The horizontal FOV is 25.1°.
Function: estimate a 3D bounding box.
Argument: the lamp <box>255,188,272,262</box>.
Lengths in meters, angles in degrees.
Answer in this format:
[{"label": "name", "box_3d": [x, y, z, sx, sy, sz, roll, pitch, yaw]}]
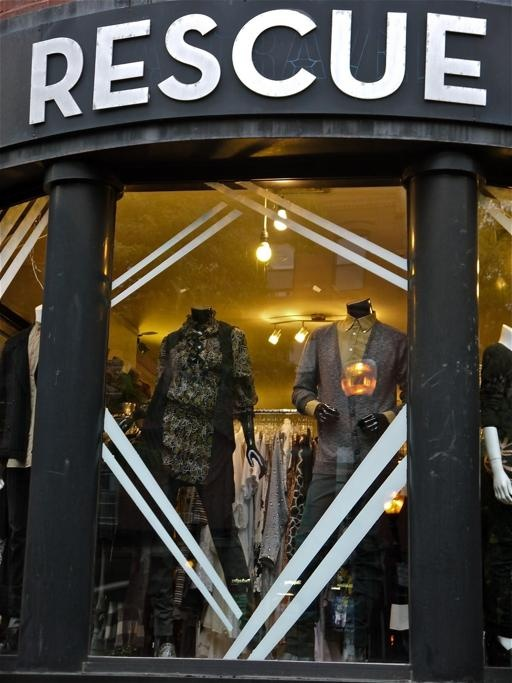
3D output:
[{"label": "lamp", "box_3d": [0.049, -0.495, 5.582, 0.077, 0.199, 0.137, 5, -17, -8]}]

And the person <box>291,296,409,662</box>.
[{"label": "person", "box_3d": [0.399, 0.602, 5.170, 0.564, 1.631, 0.208, -2, -18, 16]}]
